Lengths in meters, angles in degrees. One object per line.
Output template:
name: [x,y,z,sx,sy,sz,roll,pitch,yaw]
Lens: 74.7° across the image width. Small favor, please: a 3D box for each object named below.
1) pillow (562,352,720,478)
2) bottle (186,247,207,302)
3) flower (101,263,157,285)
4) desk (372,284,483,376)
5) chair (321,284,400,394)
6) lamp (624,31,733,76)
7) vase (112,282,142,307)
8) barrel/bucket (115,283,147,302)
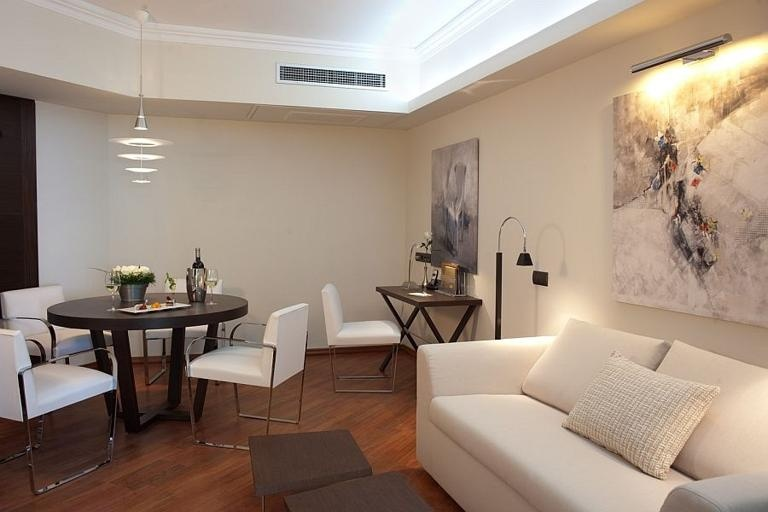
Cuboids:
pillow: [1.625,1.103,3.570,1.049,0.326,1.111,-2,-12,-40]
bottle: [-1.817,0.224,4.873,0.181,0.407,0.313,-3,10,-22]
flower: [-2.351,0.181,4.650,0.286,0.151,0.296,1,-2,-23]
desk: [0.514,0.548,6.073,0.897,1.298,1.745,-1,4,-24]
chair: [-0.259,0.904,5.677,0.848,1.073,0.716,-1,3,-9]
lamp: [2.102,-1.413,3.565,0.220,0.142,0.675,-6,10,-36]
vase: [-2.415,0.368,4.745,0.210,0.136,0.214,-4,-7,29]
barrel/bucket: [-2.386,0.352,4.734,0.191,0.118,0.194,0,-4,0]
